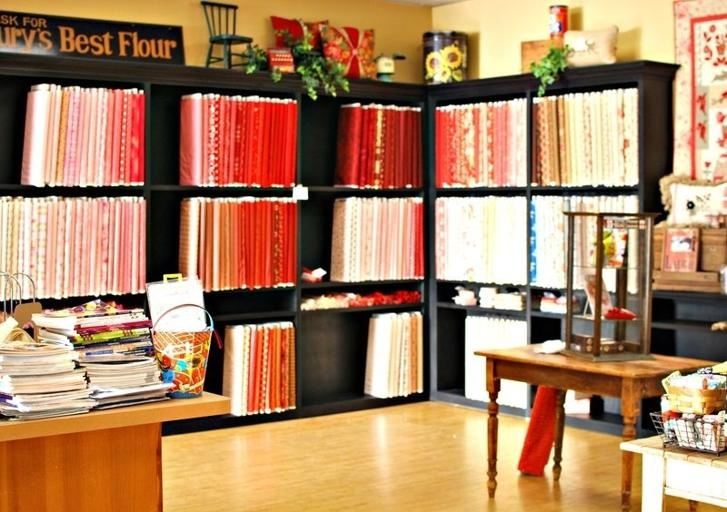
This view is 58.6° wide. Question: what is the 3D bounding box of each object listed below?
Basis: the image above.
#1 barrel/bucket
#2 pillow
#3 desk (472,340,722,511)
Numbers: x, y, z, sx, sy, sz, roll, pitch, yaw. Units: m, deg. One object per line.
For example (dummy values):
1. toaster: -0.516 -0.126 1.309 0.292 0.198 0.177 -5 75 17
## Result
1. barrel/bucket: -0.814 0.418 2.902 0.258 0.378 0.294 -1 2 -25
2. pillow: -0.416 -2.022 6.345 0.883 0.511 0.233 3 -5 -19
3. desk: 1.480 0.733 4.098 1.048 1.099 1.537 1 0 -35
